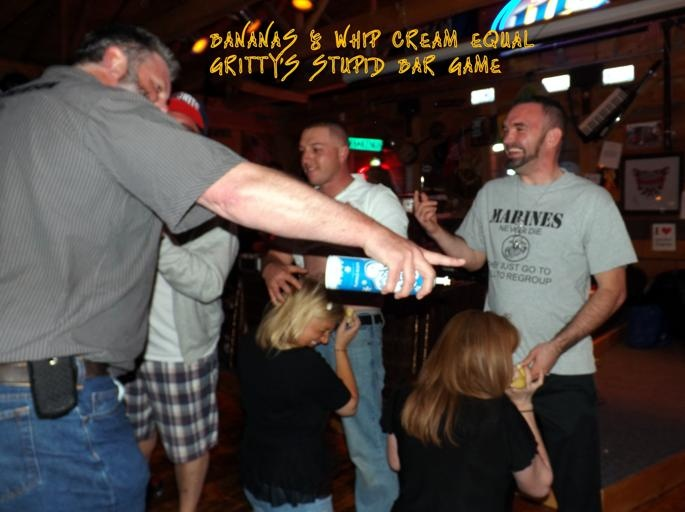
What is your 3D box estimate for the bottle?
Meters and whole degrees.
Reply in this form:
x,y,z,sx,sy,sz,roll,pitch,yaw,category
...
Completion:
x,y,z,sx,sy,sz,roll,pitch,yaw,category
0.103,0.051,1.951,0.526,0.139,0.151,7,-3,4,bottle
